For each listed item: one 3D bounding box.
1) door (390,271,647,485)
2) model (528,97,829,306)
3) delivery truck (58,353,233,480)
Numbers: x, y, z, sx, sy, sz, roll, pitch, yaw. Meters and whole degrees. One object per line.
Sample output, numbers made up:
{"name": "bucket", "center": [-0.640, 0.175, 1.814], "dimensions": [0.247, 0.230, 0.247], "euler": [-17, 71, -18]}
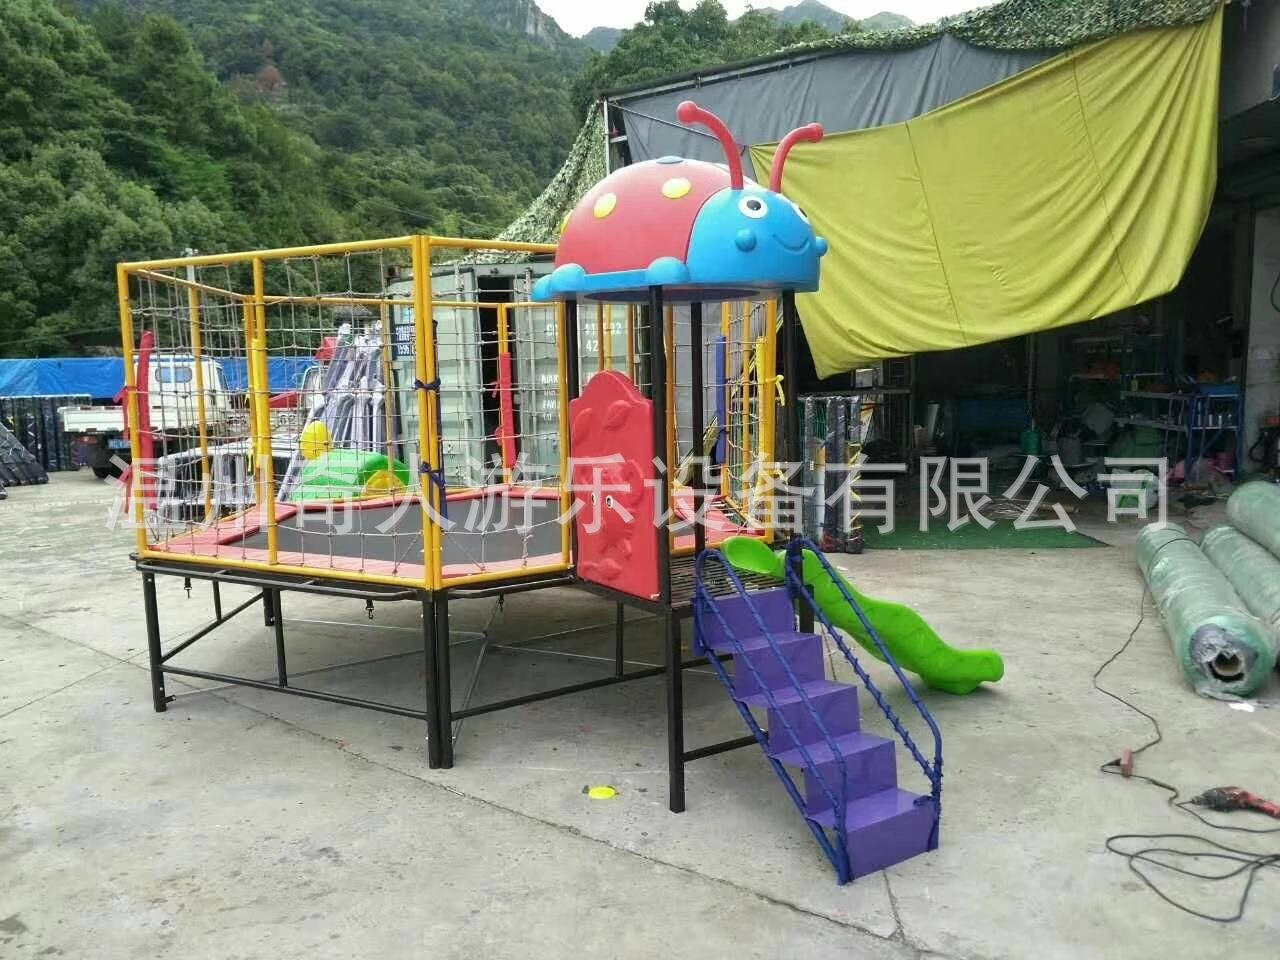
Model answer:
{"name": "door", "center": [-1.471, -1.207, 13.734], "dimensions": [3.130, 2.020, 1.076], "euler": [-1, 4, -13]}
{"name": "model", "center": [0.266, -1.384, 6.229], "dimensions": [1.707, 0.760, 1.456], "euler": [1, 6, 24]}
{"name": "delivery truck", "center": [-7.067, -1.025, 15.830], "dimensions": [1.749, 1.399, 3.122], "euler": [-4, 11, -3]}
